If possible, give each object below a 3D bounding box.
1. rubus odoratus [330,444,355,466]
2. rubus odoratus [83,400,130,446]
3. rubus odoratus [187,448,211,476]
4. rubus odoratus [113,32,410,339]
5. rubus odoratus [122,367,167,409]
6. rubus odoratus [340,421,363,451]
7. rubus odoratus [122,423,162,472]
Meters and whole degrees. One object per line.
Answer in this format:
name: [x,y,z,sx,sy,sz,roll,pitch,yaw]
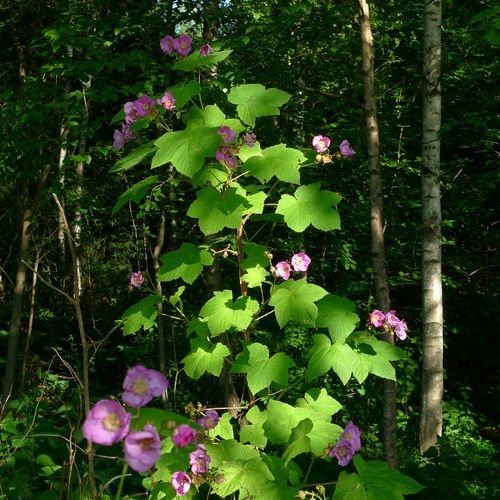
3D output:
rubus odoratus: [0.508,1.133,3.355,0.133,0.146,0.202,0,-4,6]
rubus odoratus: [-0.583,0.702,2.471,0.194,0.185,0.089,1,-4,-6]
rubus odoratus: [-0.269,1.143,3.298,0.119,0.157,0.082,1,-4,-9]
rubus odoratus: [-0.058,-0.389,3.560,1.479,1.826,0.602,2,-4,-11]
rubus odoratus: [-0.444,0.574,2.560,0.185,0.187,0.128,1,-4,-10]
rubus odoratus: [0.553,1.047,3.446,0.212,0.157,0.067,12,-23,-17]
rubus odoratus: [-0.441,0.791,2.461,0.176,0.161,0.087,-5,-12,-8]
